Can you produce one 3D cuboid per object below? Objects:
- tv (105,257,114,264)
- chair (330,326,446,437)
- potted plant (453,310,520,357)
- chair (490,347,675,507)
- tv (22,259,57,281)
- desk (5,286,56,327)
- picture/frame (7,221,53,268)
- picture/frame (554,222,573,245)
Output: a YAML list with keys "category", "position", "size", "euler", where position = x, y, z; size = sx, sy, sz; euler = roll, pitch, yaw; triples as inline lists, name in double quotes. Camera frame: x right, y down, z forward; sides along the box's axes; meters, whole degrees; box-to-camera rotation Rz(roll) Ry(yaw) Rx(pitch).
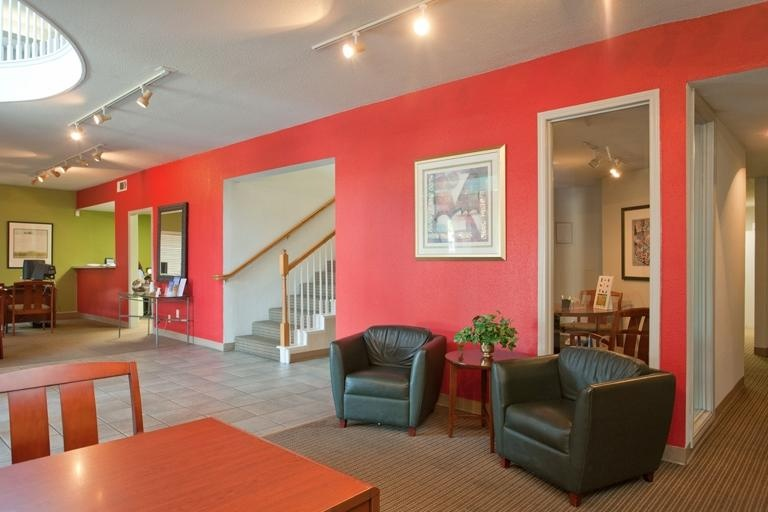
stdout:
- category: "tv"
  position: [-6.597, 0.107, 12.486]
  size: [0.144, 0.159, 0.198]
  euler: [4, -3, -1]
- category: "chair"
  position: [0.147, 1.296, 5.927]
  size: [1.156, 1.059, 1.123]
  euler: [-1, -4, 22]
- category: "potted plant"
  position: [1.147, 0.820, 5.395]
  size: [0.668, 0.450, 0.502]
  euler: [-8, 11, -44]
- category: "chair"
  position: [1.772, 1.467, 4.715]
  size: [1.221, 1.100, 1.005]
  euler: [-5, 9, -28]
- category: "tv"
  position: [-7.661, 0.315, 11.603]
  size: [0.584, 0.449, 0.543]
  euler: [2, 0, 29]
- category: "desk"
  position: [-7.316, 1.024, 10.739]
  size: [0.924, 1.275, 0.883]
  euler: [0, 4, -37]
- category: "picture/frame"
  position: [-8.498, -0.279, 12.394]
  size: [0.042, 1.120, 0.946]
  euler: [-5, 10, 41]
- category: "picture/frame"
  position: [3.578, -0.442, 10.302]
  size: [0.458, 0.580, 0.044]
  euler: [7, 5, -7]
